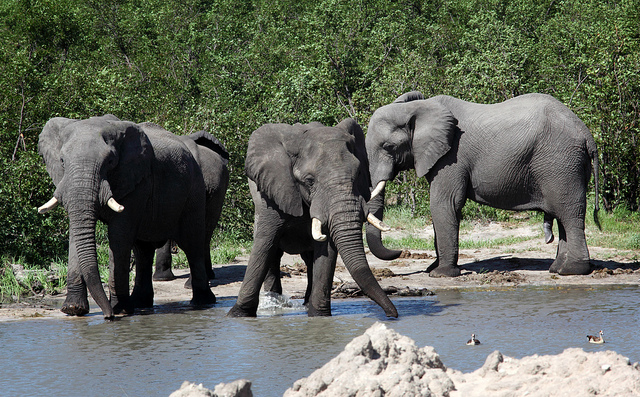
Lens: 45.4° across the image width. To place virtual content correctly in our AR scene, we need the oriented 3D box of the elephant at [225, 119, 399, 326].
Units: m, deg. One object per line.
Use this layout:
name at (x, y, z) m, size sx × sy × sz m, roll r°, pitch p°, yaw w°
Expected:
elephant at (-0.338, 0.384, 13.218) m, size 2.650 × 3.399 × 3.022 m, roll -5°, pitch 4°, yaw -9°

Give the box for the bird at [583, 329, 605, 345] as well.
bird at (4.143, 2.064, 11.563) m, size 0.284 × 0.168 × 0.435 m, roll -3°, pitch 4°, yaw 18°

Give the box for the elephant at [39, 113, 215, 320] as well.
elephant at (-3.675, 0.425, 14.604) m, size 2.008 × 3.708 × 4.235 m, roll -3°, pitch -2°, yaw 19°

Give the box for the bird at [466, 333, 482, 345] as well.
bird at (2.311, 2.121, 11.555) m, size 0.140 × 0.168 × 0.163 m, roll -1°, pitch -4°, yaw -1°

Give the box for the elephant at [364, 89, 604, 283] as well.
elephant at (4.013, -0.501, 17.997) m, size 6.200 × 4.749 × 2.881 m, roll 0°, pitch 1°, yaw 11°
